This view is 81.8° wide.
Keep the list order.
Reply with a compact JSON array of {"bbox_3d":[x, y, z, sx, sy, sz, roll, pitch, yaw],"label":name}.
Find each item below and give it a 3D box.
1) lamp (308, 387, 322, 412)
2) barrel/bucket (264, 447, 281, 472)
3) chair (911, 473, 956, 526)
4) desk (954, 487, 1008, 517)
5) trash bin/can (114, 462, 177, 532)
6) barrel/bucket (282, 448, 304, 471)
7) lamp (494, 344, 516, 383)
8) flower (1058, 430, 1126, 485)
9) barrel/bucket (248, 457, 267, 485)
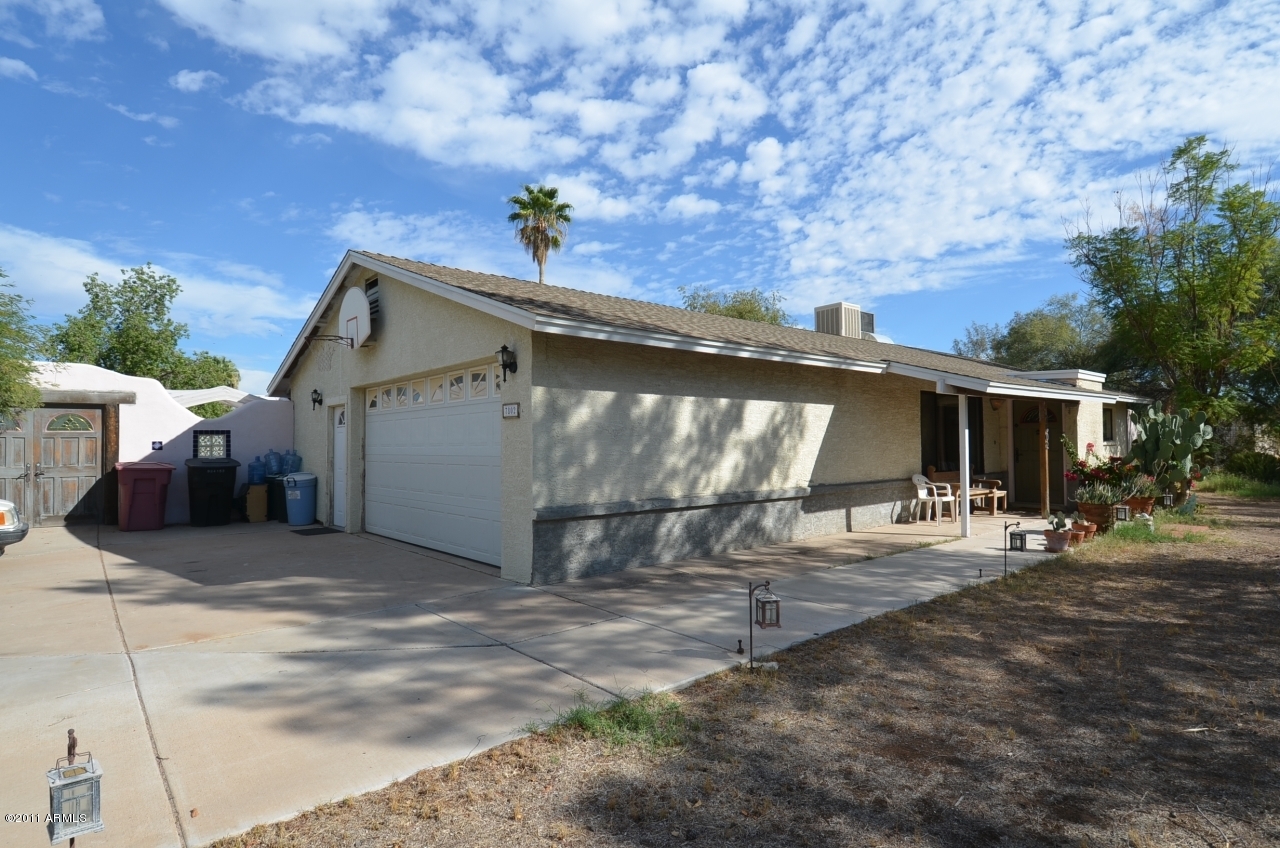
[{"bbox_3d":[-7.555,-0.529,17.288,0.162,0.545,0.739,-7,11,-32],"label":"lamp"},{"bbox_3d":[-8.989,0.974,18.101,0.368,0.477,0.450,-5,11,-27],"label":"barrel/bucket"},{"bbox_3d":[7.226,1.871,18.064,1.257,1.519,1.135,1,-4,-44],"label":"chair"},{"bbox_3d":[9.064,2.005,19.091,1.412,0.642,0.978,1,-3,-40],"label":"desk"},{"bbox_3d":[-10.840,1.664,16.932,1.700,1.753,1.379,3,-3,-32],"label":"trash bin/can"},{"bbox_3d":[-8.569,0.972,18.145,0.486,0.714,0.500,-2,-4,0],"label":"barrel/bucket"},{"bbox_3d":[-2.167,-0.952,12.011,0.194,0.600,0.407,-7,12,-35],"label":"lamp"},{"bbox_3d":[10.799,0.844,17.380,1.279,1.117,1.710,1,3,25],"label":"flower"},{"bbox_3d":[-9.320,1.183,17.965,0.416,0.547,0.455,0,10,0],"label":"barrel/bucket"}]
